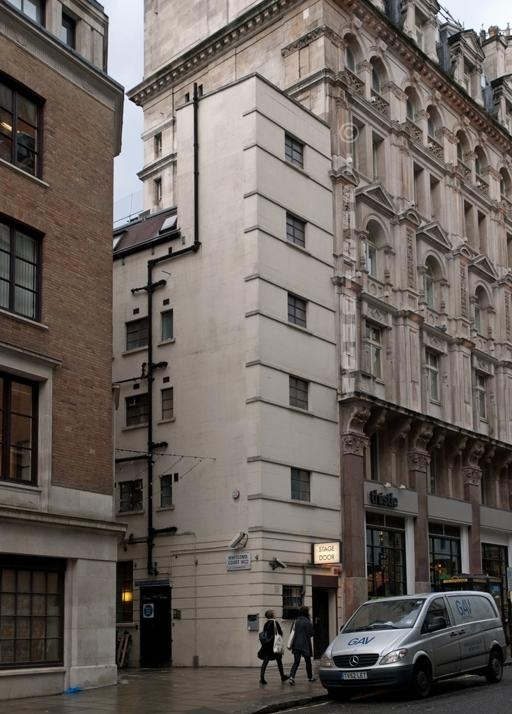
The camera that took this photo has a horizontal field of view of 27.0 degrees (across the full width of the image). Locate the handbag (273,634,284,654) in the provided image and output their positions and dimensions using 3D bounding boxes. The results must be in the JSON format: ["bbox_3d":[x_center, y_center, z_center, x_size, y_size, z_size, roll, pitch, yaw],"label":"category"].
[{"bbox_3d":[0.471,6.052,22.720,0.186,0.406,0.381,-11,-19,28],"label":"handbag"}]

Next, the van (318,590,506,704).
[{"bbox_3d":[2.984,5.345,20.268,1.722,1.767,3.766,-14,-23,30],"label":"van"}]

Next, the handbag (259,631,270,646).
[{"bbox_3d":[0.150,6.037,23.084,0.175,0.318,0.421,4,-19,-19],"label":"handbag"}]
